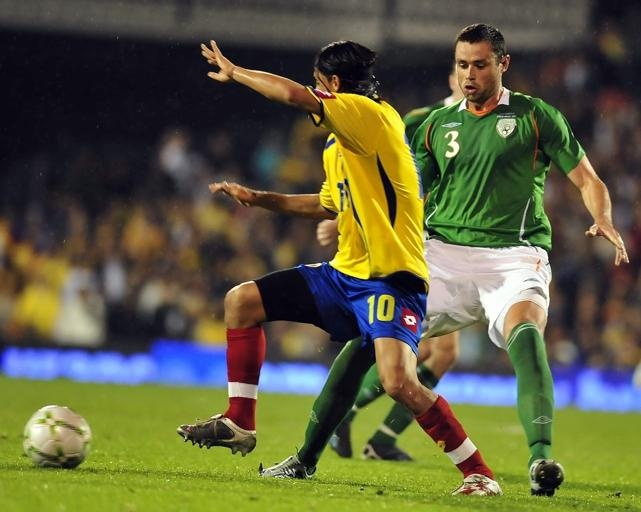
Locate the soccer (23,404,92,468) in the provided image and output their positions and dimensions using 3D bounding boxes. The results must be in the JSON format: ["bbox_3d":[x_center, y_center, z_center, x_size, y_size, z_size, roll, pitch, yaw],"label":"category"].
[{"bbox_3d":[-1.799,1.226,6.685,0.378,0.452,0.383,0,-9,37],"label":"soccer"}]

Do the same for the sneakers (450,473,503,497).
[{"bbox_3d":[1.068,1.567,6.600,0.270,0.147,0.156,2,-14,-4],"label":"sneakers"}]

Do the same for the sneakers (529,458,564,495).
[{"bbox_3d":[1.515,1.523,6.638,0.172,0.271,0.256,2,1,1],"label":"sneakers"}]

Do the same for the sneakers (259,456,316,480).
[{"bbox_3d":[-0.218,1.497,6.899,0.409,0.230,0.164,11,-12,-9],"label":"sneakers"}]
